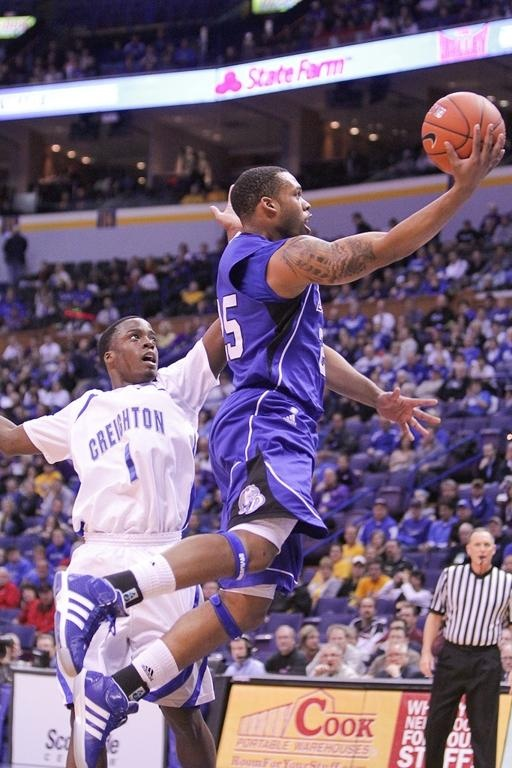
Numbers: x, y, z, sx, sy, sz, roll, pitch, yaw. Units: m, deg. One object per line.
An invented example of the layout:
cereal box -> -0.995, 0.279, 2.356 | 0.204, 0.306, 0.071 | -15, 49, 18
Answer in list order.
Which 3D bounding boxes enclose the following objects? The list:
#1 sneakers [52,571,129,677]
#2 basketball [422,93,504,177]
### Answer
sneakers -> -0.484, 0.642, 2.520 | 0.225, 0.403, 0.146 | 2, -5, 6
basketball -> 0.659, -0.803, 2.672 | 0.231, 0.272, 0.404 | 2, 12, 6
